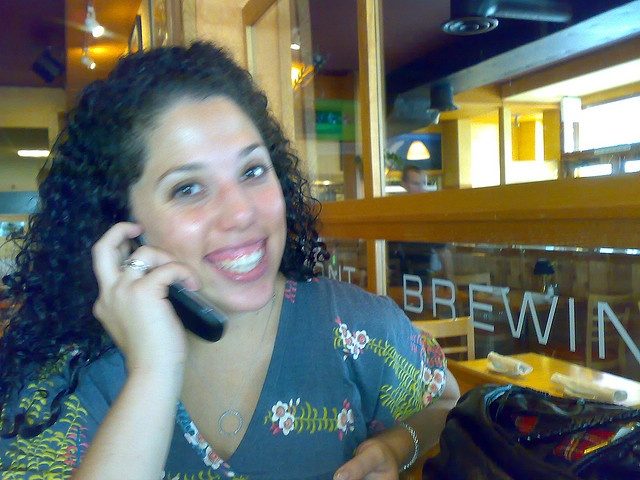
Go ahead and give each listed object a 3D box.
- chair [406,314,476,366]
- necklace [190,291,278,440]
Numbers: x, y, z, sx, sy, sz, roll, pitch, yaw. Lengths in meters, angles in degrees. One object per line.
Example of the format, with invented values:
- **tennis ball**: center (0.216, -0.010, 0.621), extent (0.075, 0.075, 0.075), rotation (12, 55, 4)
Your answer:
- **chair**: center (0.373, 0.344, 1.790), extent (0.142, 0.257, 0.166), rotation (-1, -11, -6)
- **necklace**: center (-0.187, 0.332, 1.419), extent (0.053, 0.342, 0.210), rotation (0, 2, 33)
